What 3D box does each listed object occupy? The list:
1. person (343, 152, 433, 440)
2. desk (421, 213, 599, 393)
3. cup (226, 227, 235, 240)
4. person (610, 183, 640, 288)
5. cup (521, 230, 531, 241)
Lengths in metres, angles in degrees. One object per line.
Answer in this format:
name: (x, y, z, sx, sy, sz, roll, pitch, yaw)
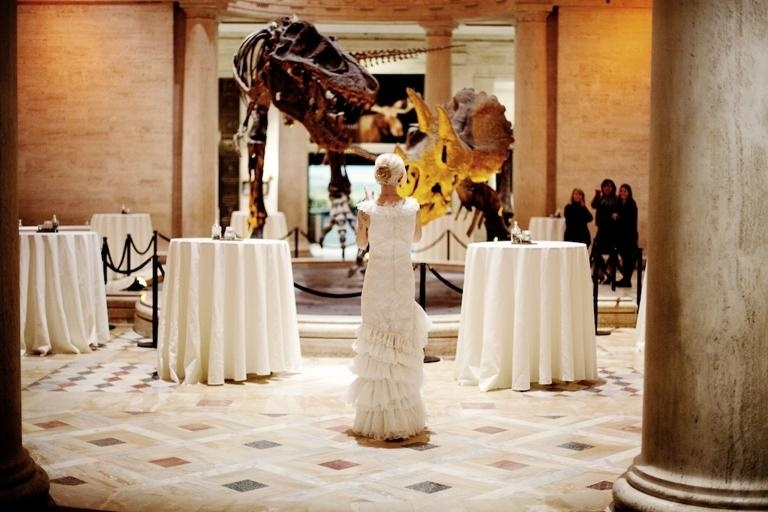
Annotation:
person: (0.054, 0.322, 7.126, 0.606, 2.190, 0.695, 1, 13, 1)
desk: (1.338, 0.567, 8.342, 1.318, 1.311, 0.626, 1, 13, 5)
cup: (-1.500, -0.209, 8.680, 0.144, 0.133, 0.102, -1, 4, -16)
person: (3.508, -0.261, 13.030, 0.325, 1.408, 0.991, 4, 13, 14)
cup: (1.392, -0.192, 8.741, 0.096, 0.097, 0.106, 0, -2, 0)
